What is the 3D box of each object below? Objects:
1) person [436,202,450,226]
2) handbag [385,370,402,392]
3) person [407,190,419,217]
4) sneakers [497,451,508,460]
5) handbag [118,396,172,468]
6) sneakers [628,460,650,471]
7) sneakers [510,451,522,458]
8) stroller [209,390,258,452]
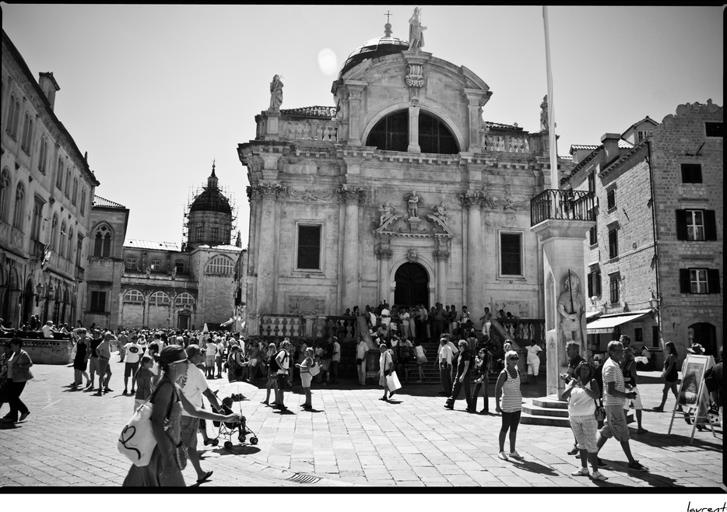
[{"bbox_3d":[4.101,-2.250,32.116,0.353,1.199,0.697,-7,-12,37],"label":"person"},{"bbox_3d":[1.053,4.370,21.340,0.506,0.715,0.230,-27,-3,9],"label":"handbag"},{"bbox_3d":[2.582,-2.658,31.928,0.596,1.379,0.458,0,-10,2],"label":"person"},{"bbox_3d":[3.082,4.438,13.725,0.190,0.159,0.390,6,-11,-30],"label":"sneakers"},{"bbox_3d":[-3.451,2.773,9.580,0.559,0.988,0.250,4,-10,-18],"label":"handbag"},{"bbox_3d":[5.757,4.433,13.045,0.409,0.191,0.159,2,-4,5],"label":"sneakers"},{"bbox_3d":[3.401,4.408,13.683,0.219,0.150,0.301,-7,-12,38],"label":"sneakers"},{"bbox_3d":[-3.102,3.896,14.979,1.057,1.230,0.907,-8,16,-12],"label":"stroller"}]
